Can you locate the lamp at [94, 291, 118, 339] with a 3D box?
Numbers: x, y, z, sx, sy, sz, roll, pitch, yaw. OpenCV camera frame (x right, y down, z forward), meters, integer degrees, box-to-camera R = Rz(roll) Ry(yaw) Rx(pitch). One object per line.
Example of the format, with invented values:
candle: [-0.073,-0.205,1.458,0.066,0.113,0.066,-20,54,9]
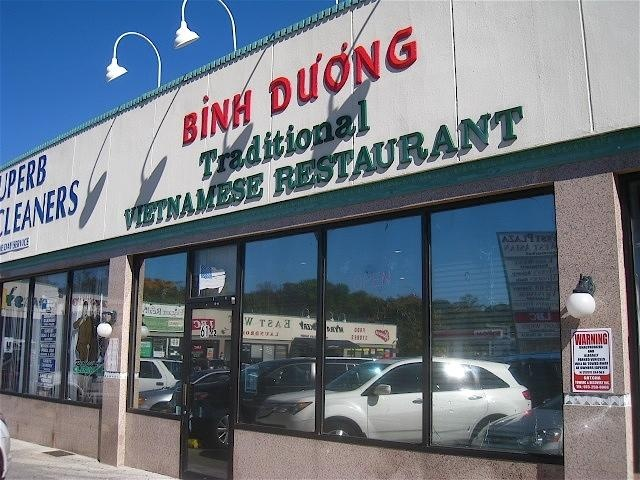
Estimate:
lamp: [-4.161,1.465,12.469,0.321,0.921,0.937,5,-14,-26]

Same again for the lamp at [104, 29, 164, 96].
lamp: [-2.875,-2.565,10.027,0.918,0.371,1.534,-5,-34,-18]
